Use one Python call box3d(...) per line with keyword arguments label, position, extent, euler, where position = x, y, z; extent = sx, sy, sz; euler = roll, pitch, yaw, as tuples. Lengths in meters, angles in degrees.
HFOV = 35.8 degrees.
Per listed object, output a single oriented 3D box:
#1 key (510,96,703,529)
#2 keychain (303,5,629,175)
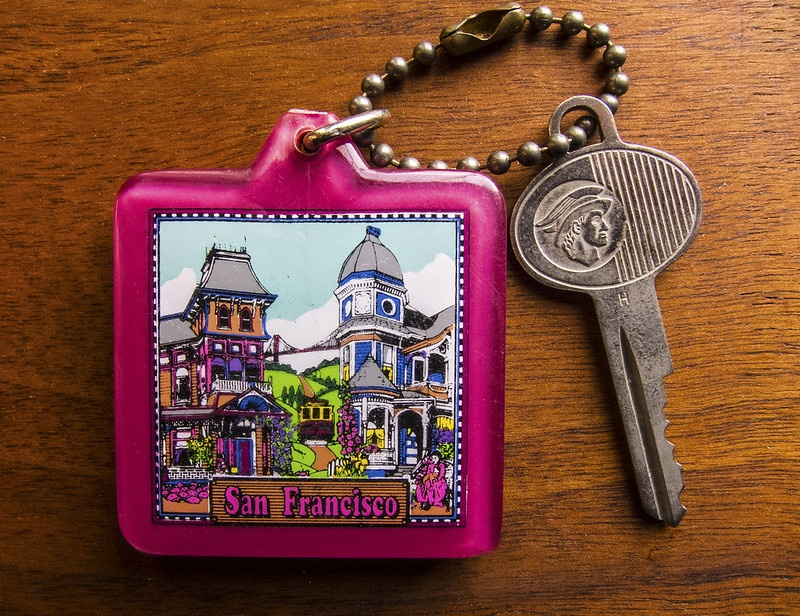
box3d(label="key", position=(0.197, 0.005, 1.109), extent=(0.183, 0.021, 0.367), euler=(-13, 92, 0))
box3d(label="keychain", position=(0.061, -0.199, 1.123), extent=(0.280, 0.036, 0.132), euler=(-17, 87, 6))
